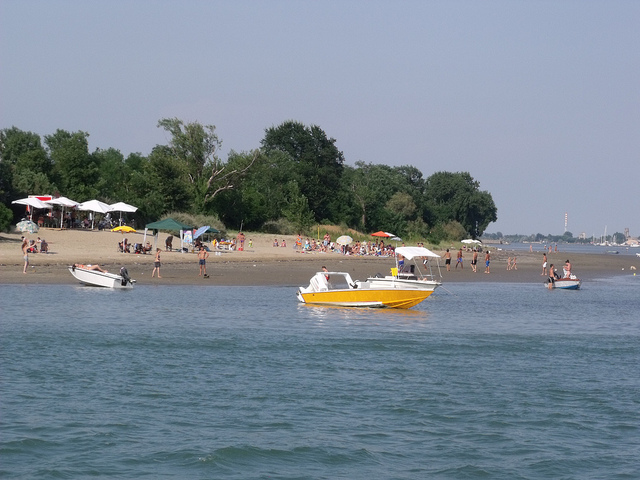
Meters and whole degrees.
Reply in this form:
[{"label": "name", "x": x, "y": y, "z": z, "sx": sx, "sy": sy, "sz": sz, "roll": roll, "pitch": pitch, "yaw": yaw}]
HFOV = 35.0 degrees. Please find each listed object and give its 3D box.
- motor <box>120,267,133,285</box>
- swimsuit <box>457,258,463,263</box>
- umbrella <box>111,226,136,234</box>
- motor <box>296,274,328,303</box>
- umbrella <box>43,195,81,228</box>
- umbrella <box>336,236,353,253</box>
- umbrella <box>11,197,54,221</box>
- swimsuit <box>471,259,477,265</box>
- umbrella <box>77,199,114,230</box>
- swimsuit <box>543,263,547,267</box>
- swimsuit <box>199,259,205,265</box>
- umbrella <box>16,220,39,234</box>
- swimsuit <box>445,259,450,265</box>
[{"label": "motor", "x": -10.067, "y": 1.820, "z": 52.900, "sx": 0.584, "sy": 0.782, "sz": 1.396, "roll": -1, "pitch": 12, "yaw": -12}, {"label": "swimsuit", "x": 11.146, "y": 1.600, "z": 80.527, "sx": 0.443, "sy": 0.246, "sz": 0.608, "roll": 0, "pitch": -3, "yaw": 5}, {"label": "umbrella", "x": -15.777, "y": -0.816, "z": 81.687, "sx": 1.574, "sy": 0.638, "sz": 2.748, "roll": -5, "pitch": 13, "yaw": -27}, {"label": "motor", "x": -0.344, "y": 2.217, "z": 49.229, "sx": 1.372, "sy": 1.563, "sz": 1.038, "roll": -9, "pitch": -1, "yaw": -7}, {"label": "umbrella", "x": -19.711, "y": -2.162, "z": 78.131, "sx": 2.333, "sy": 1.687, "sz": 2.208, "roll": 3, "pitch": 8, "yaw": 14}, {"label": "umbrella", "x": 2.349, "y": 0.475, "z": 95.324, "sx": 1.525, "sy": 1.531, "sz": 1.549, "roll": -1, "pitch": 7, "yaw": -8}, {"label": "umbrella", "x": -22.685, "y": -2.419, "z": 80.734, "sx": 1.919, "sy": 1.390, "sz": 1.993, "roll": 10, "pitch": -5, "yaw": -31}, {"label": "swimsuit", "x": 11.688, "y": 1.682, "z": 76.539, "sx": 0.373, "sy": 0.445, "sz": 0.252, "roll": -1, "pitch": 5, "yaw": 13}, {"label": "umbrella", "x": -17.827, "y": -1.922, "z": 79.803, "sx": 2.322, "sy": 1.721, "sz": 2.368, "roll": 4, "pitch": 5, "yaw": 28}, {"label": "swimsuit", "x": 16.645, "y": 1.848, "z": 74.810, "sx": 0.367, "sy": 0.234, "sz": 0.289, "roll": 0, "pitch": 25, "yaw": 6}, {"label": "swimsuit", "x": -6.980, "y": 1.297, "z": 60.545, "sx": 0.378, "sy": 0.288, "sz": 0.213, "roll": 0, "pitch": -6, "yaw": 4}, {"label": "umbrella", "x": -21.311, "y": -0.902, "z": 74.187, "sx": 1.403, "sy": 1.024, "sz": 1.964, "roll": -2, "pitch": 12, "yaw": -14}, {"label": "swimsuit", "x": 9.481, "y": 1.617, "z": 74.702, "sx": 0.376, "sy": 0.400, "sz": 0.235, "roll": -2, "pitch": 4, "yaw": -37}]
